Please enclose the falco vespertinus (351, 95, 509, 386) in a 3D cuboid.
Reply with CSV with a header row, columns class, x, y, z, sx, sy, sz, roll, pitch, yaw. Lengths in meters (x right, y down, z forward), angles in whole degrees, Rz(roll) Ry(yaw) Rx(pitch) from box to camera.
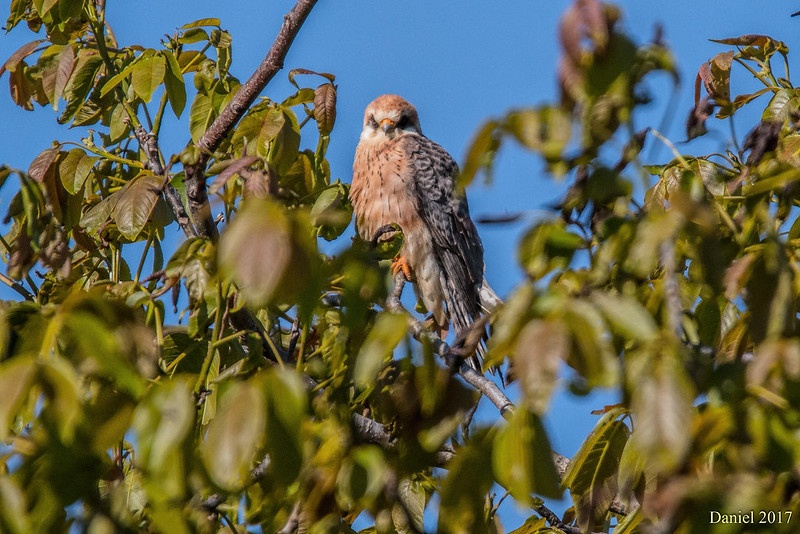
class,x,y,z,sx,sy,sz,roll,pitch,yaw
falco vespertinus,0.183,-0.116,8.135,1.023,1.467,0.635,30,-40,-27
